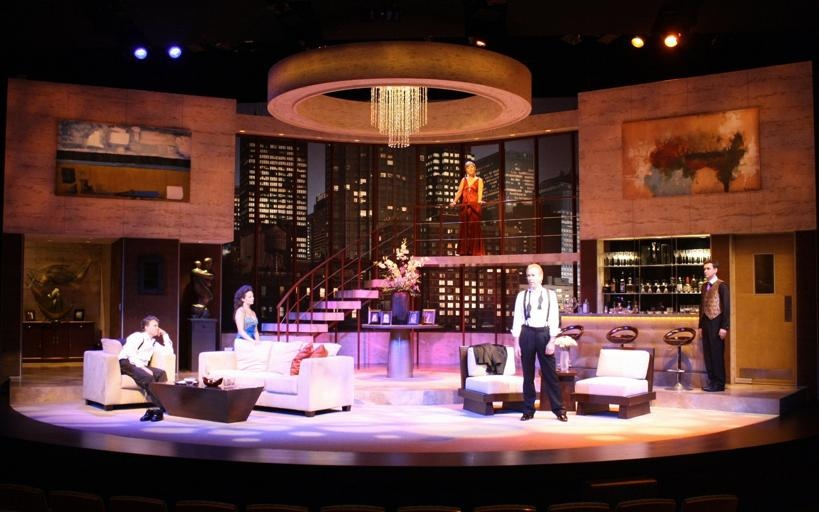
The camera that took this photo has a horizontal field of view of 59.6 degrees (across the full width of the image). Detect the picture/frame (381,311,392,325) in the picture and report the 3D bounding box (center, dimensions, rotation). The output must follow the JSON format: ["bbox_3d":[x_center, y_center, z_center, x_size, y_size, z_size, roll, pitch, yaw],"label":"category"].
[{"bbox_3d":[-0.496,1.298,14.702,0.233,0.318,0.226,1,-1,11],"label":"picture/frame"}]

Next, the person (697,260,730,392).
[{"bbox_3d":[5.456,1.271,12.827,0.442,2.274,0.422,0,-3,19],"label":"person"}]

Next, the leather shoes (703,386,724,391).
[{"bbox_3d":[5.377,2.353,12.699,0.345,0.137,0.120,3,-7,6],"label":"leather shoes"}]

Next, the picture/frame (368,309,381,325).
[{"bbox_3d":[-0.745,1.291,14.881,0.268,0.251,0.256,1,-4,-6],"label":"picture/frame"}]

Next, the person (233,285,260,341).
[{"bbox_3d":[-2.995,1.063,13.184,0.435,1.002,0.485,2,-3,-11],"label":"person"}]

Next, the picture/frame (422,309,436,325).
[{"bbox_3d":[0.385,1.280,14.958,0.380,0.412,0.056,2,-8,3],"label":"picture/frame"}]

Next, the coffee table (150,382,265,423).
[{"bbox_3d":[-3.261,2.413,11.638,1.845,0.464,0.829,-5,-15,36],"label":"coffee table"}]

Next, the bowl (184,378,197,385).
[{"bbox_3d":[-3.588,2.081,11.737,0.144,0.081,0.140,1,-4,0],"label":"bowl"}]

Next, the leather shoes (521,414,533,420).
[{"bbox_3d":[1.877,2.614,11.578,0.174,0.089,0.284,0,-3,26],"label":"leather shoes"}]

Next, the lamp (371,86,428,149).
[{"bbox_3d":[-0.215,-2.820,14.296,0.883,1.311,0.868,9,21,36],"label":"lamp"}]

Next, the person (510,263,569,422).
[{"bbox_3d":[2.134,1.410,11.727,0.879,2.520,0.596,0,-3,18],"label":"person"}]

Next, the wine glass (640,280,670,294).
[{"bbox_3d":[5.053,0.654,14.875,0.441,0.255,0.258,-1,-3,19],"label":"wine glass"}]

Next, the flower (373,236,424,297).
[{"bbox_3d":[-0.112,0.478,15.251,0.764,1.173,0.847,-12,-6,7],"label":"flower"}]

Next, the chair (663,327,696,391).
[{"bbox_3d":[4.908,1.850,13.030,0.503,1.104,1.092,0,-3,23],"label":"chair"}]

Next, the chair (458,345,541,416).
[{"bbox_3d":[1.489,2.149,12.575,1.244,1.121,1.216,2,-6,-20],"label":"chair"}]

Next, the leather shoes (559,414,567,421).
[{"bbox_3d":[2.444,2.596,11.452,0.171,0.096,0.194,1,-3,3],"label":"leather shoes"}]

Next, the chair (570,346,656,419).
[{"bbox_3d":[3.401,2.103,11.966,1.080,0.983,1.106,-3,-2,43],"label":"chair"}]

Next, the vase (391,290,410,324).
[{"bbox_3d":[-0.207,1.079,14.690,0.367,0.671,0.334,1,-3,1],"label":"vase"}]

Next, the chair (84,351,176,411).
[{"bbox_3d":[-4.984,2.052,12.491,1.246,0.898,1.121,5,-9,-38],"label":"chair"}]

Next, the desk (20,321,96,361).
[{"bbox_3d":[-8.203,2.010,16.804,1.703,0.943,0.561,0,-3,-6],"label":"desk"}]

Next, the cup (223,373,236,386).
[{"bbox_3d":[-3.064,2.129,12.260,0.243,0.167,0.214,-1,-4,2],"label":"cup"}]

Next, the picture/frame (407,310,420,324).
[{"bbox_3d":[0.077,1.271,14.576,0.200,0.254,0.096,0,-5,14],"label":"picture/frame"}]

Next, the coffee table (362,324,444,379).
[{"bbox_3d":[-0.218,1.927,14.912,1.292,0.821,1.290,-2,-5,26],"label":"coffee table"}]

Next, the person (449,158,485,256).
[{"bbox_3d":[1.408,-1.004,16.863,0.681,1.983,0.344,1,-3,11],"label":"person"}]

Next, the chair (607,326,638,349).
[{"bbox_3d":[3.926,1.481,13.259,0.563,0.557,0.550,-2,-10,20],"label":"chair"}]
